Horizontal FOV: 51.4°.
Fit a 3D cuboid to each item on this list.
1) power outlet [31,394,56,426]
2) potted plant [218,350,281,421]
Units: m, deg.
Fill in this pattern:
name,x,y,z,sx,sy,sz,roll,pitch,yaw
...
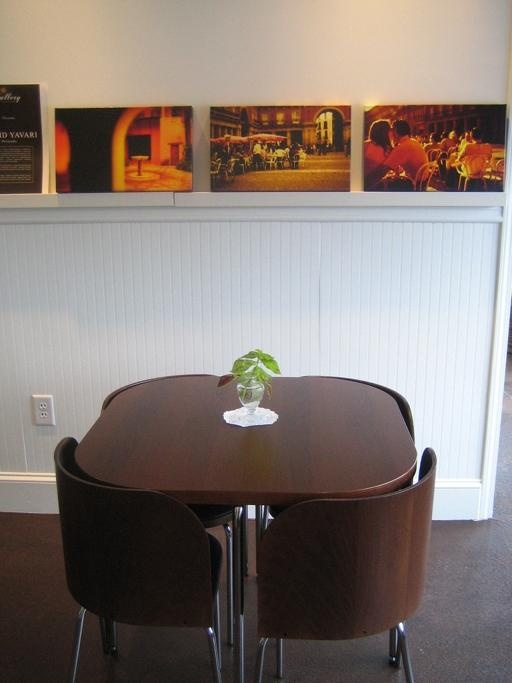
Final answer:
name,x,y,z,sx,sy,sz,roll,pitch,yaw
power outlet,-0.966,0.306,2.432,0.110,0.188,0.018,-1,8,1
potted plant,-0.015,0.123,1.485,0.146,0.192,0.155,0,0,-15
